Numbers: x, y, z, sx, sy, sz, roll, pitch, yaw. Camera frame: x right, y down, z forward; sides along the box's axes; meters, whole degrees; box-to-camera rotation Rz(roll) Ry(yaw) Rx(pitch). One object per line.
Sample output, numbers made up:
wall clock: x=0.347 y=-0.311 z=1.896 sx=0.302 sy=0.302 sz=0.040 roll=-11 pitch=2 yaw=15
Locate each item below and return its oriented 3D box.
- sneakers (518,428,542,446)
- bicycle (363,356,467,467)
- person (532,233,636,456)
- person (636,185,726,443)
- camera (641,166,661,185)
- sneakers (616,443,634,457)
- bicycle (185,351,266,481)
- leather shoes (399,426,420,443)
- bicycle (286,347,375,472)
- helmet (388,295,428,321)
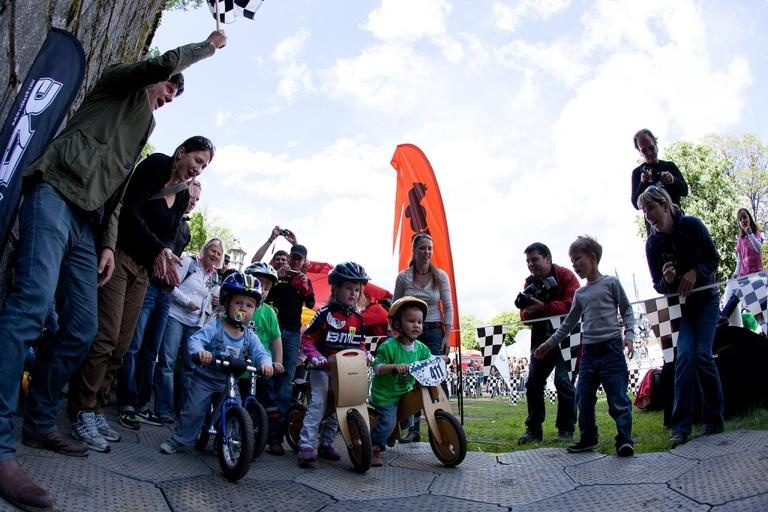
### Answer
sneakers: x=1.785 y=2.205 z=5.677 sx=0.362 sy=0.159 sz=0.124 roll=14 pitch=-27 yaw=-28
bicycle: x=0.523 y=1.658 z=4.698 sx=0.553 sy=0.709 sz=1.222 roll=-4 pitch=-28 yaw=-32
person: x=2.233 y=0.911 z=4.941 sx=0.739 sy=2.192 sz=0.622 roll=-2 pitch=-17 yaw=3
person: x=3.120 y=0.592 z=4.877 sx=0.800 sy=2.587 sz=0.600 roll=7 pitch=-19 yaw=-23
camera: x=3.527 y=-1.046 z=6.156 sx=0.180 sy=0.283 sz=0.052 roll=33 pitch=-10 yaw=-26
sneakers: x=2.306 y=1.859 z=4.469 sx=0.079 sy=0.089 sz=0.207 roll=12 pitch=-31 yaw=9
bicycle: x=-1.409 y=1.558 z=4.212 sx=0.555 sy=0.641 sz=1.025 roll=15 pitch=-28 yaw=-25
leather shoes: x=0.295 y=2.255 z=5.880 sx=0.309 sy=0.201 sz=0.110 roll=31 pitch=-42 yaw=-32
bicycle: x=-0.601 y=1.585 z=4.923 sx=0.665 sy=0.904 sz=1.377 roll=10 pitch=-23 yaw=-33
helmet: x=0.243 y=0.541 z=5.110 sx=0.247 sy=0.347 sz=0.260 roll=8 pitch=-3 yaw=-32
